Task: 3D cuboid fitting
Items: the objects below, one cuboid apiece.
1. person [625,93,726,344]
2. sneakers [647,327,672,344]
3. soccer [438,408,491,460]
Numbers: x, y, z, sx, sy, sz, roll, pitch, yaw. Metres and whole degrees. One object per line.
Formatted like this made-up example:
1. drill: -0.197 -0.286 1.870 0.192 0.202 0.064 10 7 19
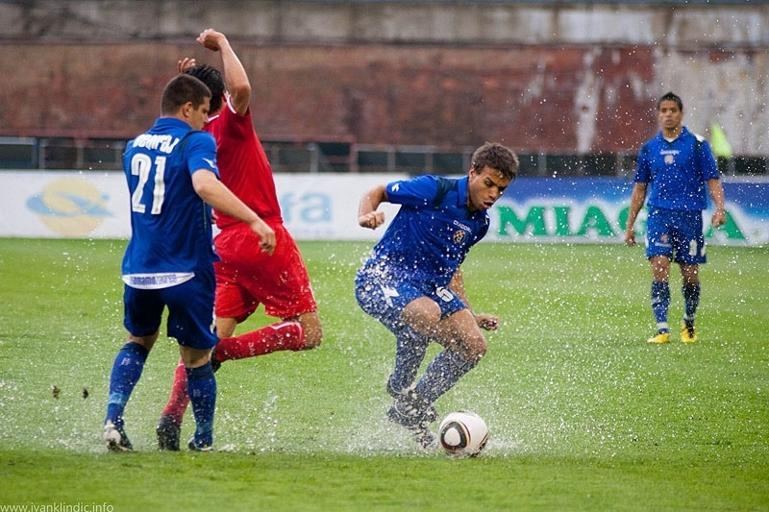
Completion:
1. person: 4.243 -0.562 19.447 1.348 3.600 0.821 4 7 3
2. sneakers: 4.039 1.162 19.388 0.360 0.240 0.164 1 -2 19
3. soccer: 0.969 2.227 16.649 0.641 0.515 0.552 4 4 33
